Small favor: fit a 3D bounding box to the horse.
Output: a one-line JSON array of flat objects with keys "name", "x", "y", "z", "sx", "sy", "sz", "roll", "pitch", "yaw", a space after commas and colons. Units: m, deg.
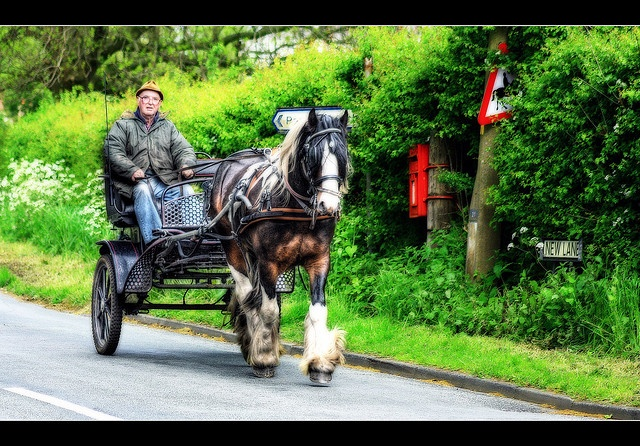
[{"name": "horse", "x": -0.440, "y": 0.274, "z": 8.533, "sx": 0.799, "sy": 3.203, "sz": 2.173, "roll": -5, "pitch": 10, "yaw": -35}]
